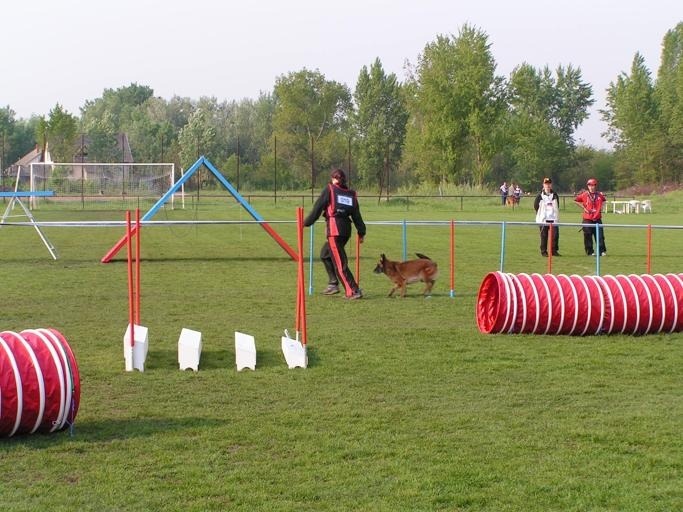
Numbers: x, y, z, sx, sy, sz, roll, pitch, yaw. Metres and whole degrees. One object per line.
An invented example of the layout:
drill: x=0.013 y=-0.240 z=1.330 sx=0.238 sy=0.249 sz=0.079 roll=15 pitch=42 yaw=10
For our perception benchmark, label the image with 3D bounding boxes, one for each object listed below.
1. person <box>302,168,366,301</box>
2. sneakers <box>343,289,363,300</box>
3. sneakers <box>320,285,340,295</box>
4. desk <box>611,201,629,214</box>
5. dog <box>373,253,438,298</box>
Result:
person: x=-0.078 y=-0.360 z=16.491 sx=0.911 sy=2.147 sz=1.086 roll=-1 pitch=2 yaw=1
sneakers: x=0.214 y=0.651 z=16.634 sx=0.120 sy=0.165 sz=0.318 roll=-1 pitch=5 yaw=-42
sneakers: x=-0.192 y=0.585 z=17.081 sx=0.329 sy=0.163 sz=0.130 roll=2 pitch=3 yaw=28
desk: x=12.856 y=-2.229 z=45.621 sx=0.679 sy=0.553 sz=0.388 roll=-1 pitch=5 yaw=5
dog: x=1.129 y=0.311 z=16.923 sx=1.011 sy=0.760 sz=1.310 roll=-1 pitch=2 yaw=3
